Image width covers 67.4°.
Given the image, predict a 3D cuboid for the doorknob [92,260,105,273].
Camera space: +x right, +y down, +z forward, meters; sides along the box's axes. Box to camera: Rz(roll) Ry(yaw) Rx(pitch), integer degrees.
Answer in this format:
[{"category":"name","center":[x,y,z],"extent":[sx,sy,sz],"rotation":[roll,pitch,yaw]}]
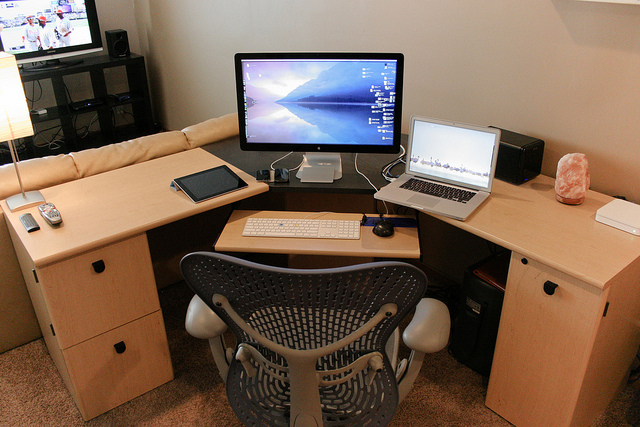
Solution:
[{"category":"doorknob","center":[-1.167,0.272,2.512],"extent":[0.059,0.055,0.032],"rotation":[-5,37,-11]}]

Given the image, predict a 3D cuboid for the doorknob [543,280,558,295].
[{"category":"doorknob","center":[1.143,0.364,2.374],"extent":[0.047,0.066,0.036],"rotation":[29,43,36]}]

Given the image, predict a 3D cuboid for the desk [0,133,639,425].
[{"category":"desk","center":[0.028,0.430,2.876],"extent":[3.283,1.206,1.291],"rotation":[4,30,5]}]

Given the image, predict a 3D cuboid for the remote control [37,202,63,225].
[{"category":"remote control","center":[-1.465,-0.020,2.593],"extent":[0.086,0.055,0.185],"rotation":[-19,44,-36]}]

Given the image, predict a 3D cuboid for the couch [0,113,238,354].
[{"category":"couch","center":[-1.144,0.163,2.774],"extent":[0.470,0.771,1.600],"rotation":[29,40,34]}]

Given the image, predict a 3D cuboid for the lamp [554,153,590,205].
[{"category":"lamp","center":[1.410,-0.204,2.693],"extent":[0.175,0.272,0.153],"rotation":[9,20,42]}]

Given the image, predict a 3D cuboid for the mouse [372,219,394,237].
[{"category":"mouse","center":[0.353,0.082,2.685],"extent":[0.114,0.059,0.090],"rotation":[8,30,12]}]

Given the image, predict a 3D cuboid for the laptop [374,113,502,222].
[{"category":"laptop","center":[0.648,-0.275,2.670],"extent":[0.581,0.361,0.517],"rotation":[12,33,27]}]

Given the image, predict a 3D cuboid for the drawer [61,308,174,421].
[{"category":"drawer","center":[-1.235,0.845,2.927],"extent":[0.577,0.546,0.585],"rotation":[-23,36,-35]}]
